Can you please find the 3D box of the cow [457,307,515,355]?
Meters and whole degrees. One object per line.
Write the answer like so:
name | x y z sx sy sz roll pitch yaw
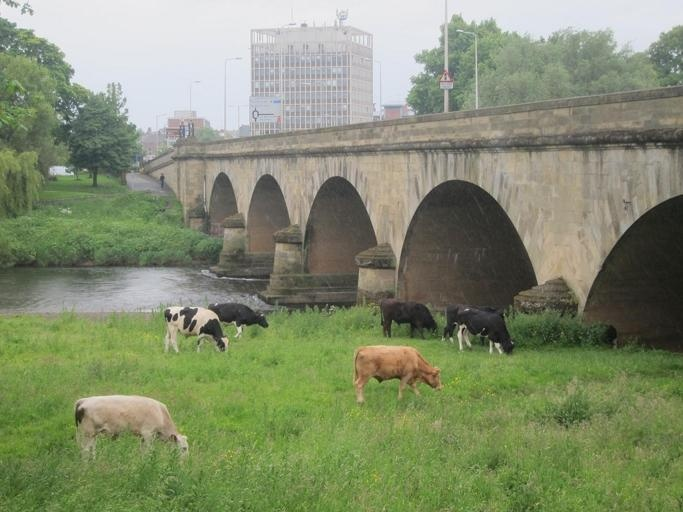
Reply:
cow | 2.983 1.684 18.951 1.822 1.261 0.539 6 5 44

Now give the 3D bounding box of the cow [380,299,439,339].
cow | 1.665 1.613 21.329 1.404 0.949 0.732 0 8 7

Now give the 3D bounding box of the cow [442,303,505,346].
cow | 3.339 1.621 20.357 1.756 1.132 0.644 1 5 -1
